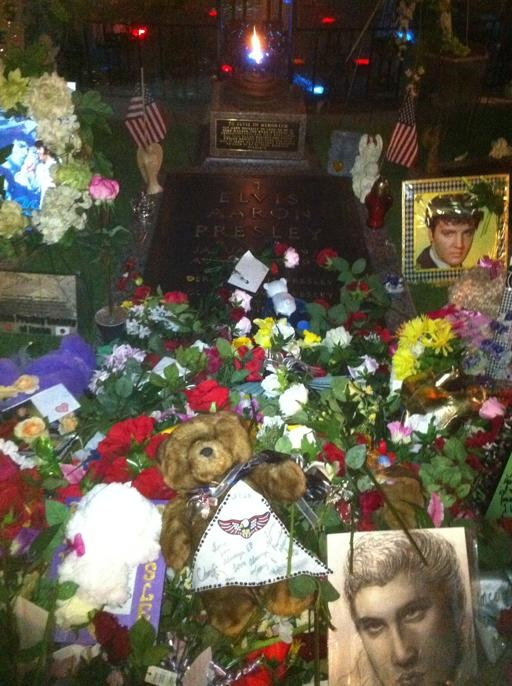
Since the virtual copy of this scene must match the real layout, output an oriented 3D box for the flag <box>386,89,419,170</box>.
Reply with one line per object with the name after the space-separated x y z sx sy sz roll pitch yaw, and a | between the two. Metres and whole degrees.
1.405 -2.011 4.657 0.325 0.820 0.059 32 70 29 | flag
